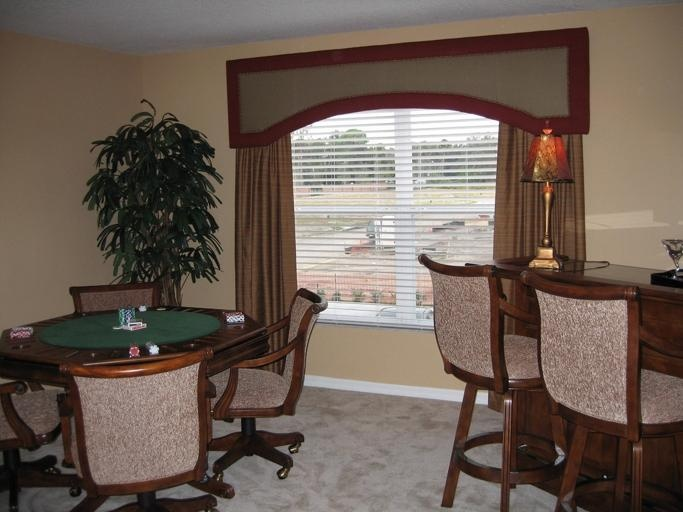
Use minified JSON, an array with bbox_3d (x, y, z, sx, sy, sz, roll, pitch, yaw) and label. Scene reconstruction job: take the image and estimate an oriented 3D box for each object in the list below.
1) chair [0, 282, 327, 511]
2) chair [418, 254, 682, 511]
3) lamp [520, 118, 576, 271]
[{"bbox_3d":[-1.067,0.757,3.243,1.508,0.856,1.561,1,5,31],"label":"chair"},{"bbox_3d":[0.876,0.720,3.008,0.810,1.447,0.666,8,14,39],"label":"chair"},{"bbox_3d":[1.321,-0.428,3.467,0.296,0.910,0.826,3,11,20],"label":"lamp"}]
